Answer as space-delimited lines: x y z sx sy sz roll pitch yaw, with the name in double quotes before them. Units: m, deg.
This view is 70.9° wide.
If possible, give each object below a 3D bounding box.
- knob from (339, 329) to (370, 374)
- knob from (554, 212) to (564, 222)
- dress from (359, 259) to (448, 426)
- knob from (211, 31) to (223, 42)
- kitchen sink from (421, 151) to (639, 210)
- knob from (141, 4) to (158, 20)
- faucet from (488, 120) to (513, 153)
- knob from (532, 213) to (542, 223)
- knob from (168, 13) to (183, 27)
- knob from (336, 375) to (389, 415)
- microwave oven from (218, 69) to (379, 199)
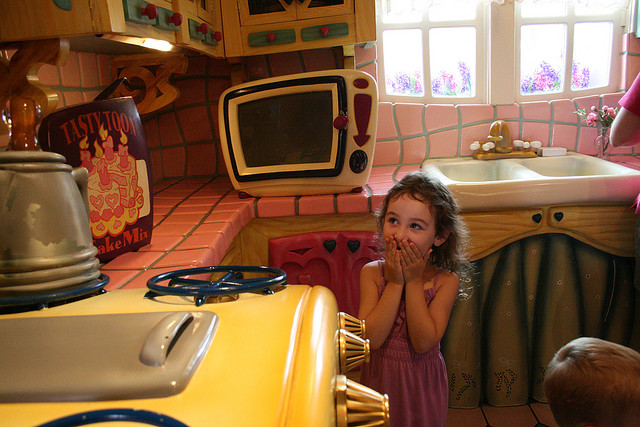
"knob" 0.048 0.170 0.640 0.048 0.083 0.086 -1 -1 3
"knob" 0.845 0.009 1.596 0.025 0.025 0.025 -3 0 7
"dress" 0.240 0.406 1.299 0.225 0.476 0.187 5 18 -15
"knob" -0.379 -0.640 1.655 0.038 0.042 0.039 3 -1 12
"kitchen sink" 0.813 -0.152 1.842 0.741 0.108 0.601 -4 16 0
"knob" -0.441 -0.521 1.162 0.028 0.034 0.044 -2 16 5
"faucet" 0.831 -0.357 2.082 0.105 0.152 0.102 1 21 28
"knob" 0.766 0.015 1.593 0.025 0.024 0.014 -20 10 -8
"knob" -0.416 -0.560 1.296 0.031 0.035 0.034 7 33 35
"knob" 0.045 0.218 0.530 0.065 0.035 0.039 12 37 -16
"microwave oven" -0.080 -0.311 1.783 0.601 0.454 0.381 -3 15 5
